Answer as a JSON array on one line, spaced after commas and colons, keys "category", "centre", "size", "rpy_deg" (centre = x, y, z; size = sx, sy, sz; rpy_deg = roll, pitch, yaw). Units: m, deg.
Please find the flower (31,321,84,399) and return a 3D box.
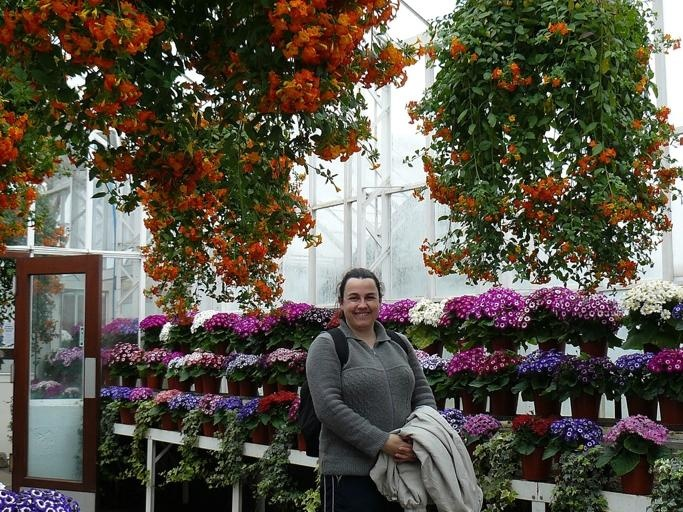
[{"category": "flower", "centre": [-2.144, 0.785, 6.639], "size": [0.425, 0.549, 0.256], "rpy_deg": [-2, 4, 2]}]
